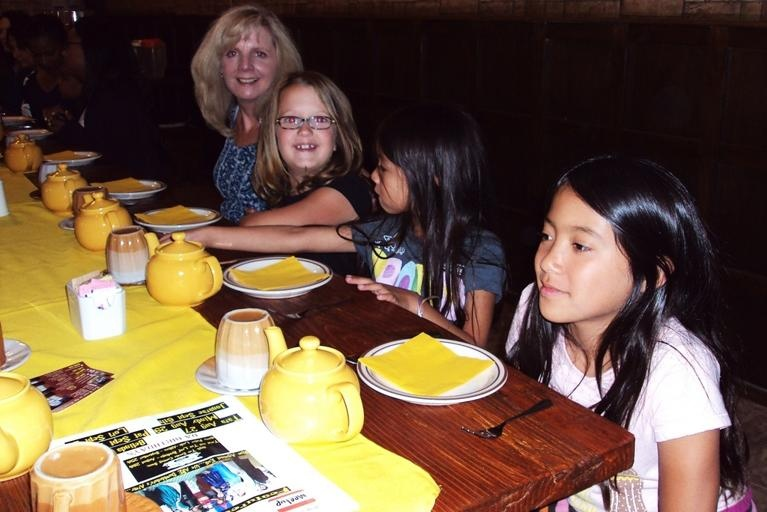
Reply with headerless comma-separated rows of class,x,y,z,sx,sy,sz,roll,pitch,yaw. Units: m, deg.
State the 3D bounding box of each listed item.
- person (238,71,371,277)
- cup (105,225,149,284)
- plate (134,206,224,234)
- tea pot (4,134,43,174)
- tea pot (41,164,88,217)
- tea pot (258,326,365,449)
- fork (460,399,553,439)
person,-0.321,-0.340,2.319,0.618,0.835,0.498,-5,8,-35
cup,-0.701,0.006,1.510,0.144,0.135,0.104,-9,19,-40
plate,-0.736,-0.129,1.928,0.175,0.029,0.169,-9,23,-25
tea pot,-1.666,-0.488,2.580,0.153,0.190,0.199,-6,24,-26
tea pot,-1.223,-0.264,2.078,0.167,0.182,0.209,-2,23,-25
tea pot,-0.126,0.221,0.949,0.136,0.139,0.208,-11,29,-31
fork,0.227,0.288,0.951,0.187,0.014,0.045,-8,20,-21
